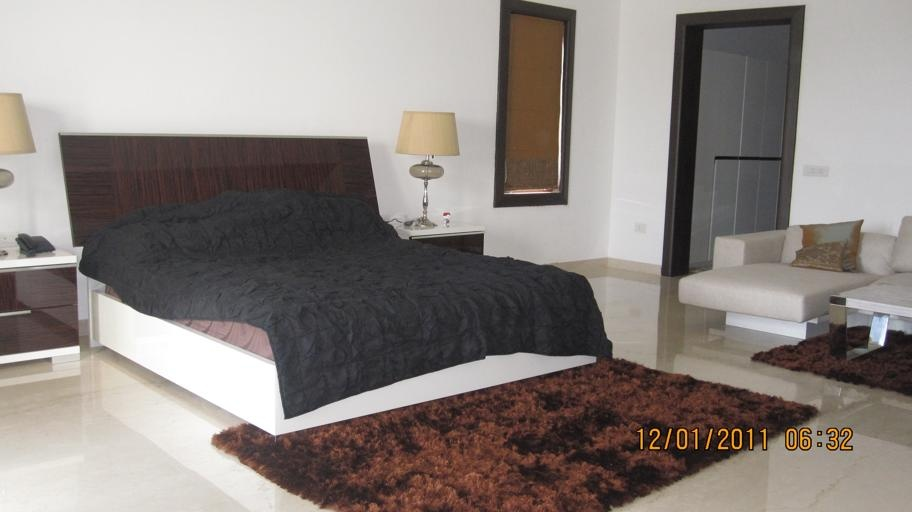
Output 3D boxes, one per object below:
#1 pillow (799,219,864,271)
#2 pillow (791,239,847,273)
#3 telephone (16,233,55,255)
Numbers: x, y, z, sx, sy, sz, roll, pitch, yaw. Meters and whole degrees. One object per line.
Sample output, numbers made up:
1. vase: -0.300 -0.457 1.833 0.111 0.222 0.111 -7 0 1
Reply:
1. pillow: 3.890 -0.114 6.182 0.653 0.558 0.188 6 -15 29
2. pillow: 3.759 0.002 6.152 0.369 0.111 0.375 21 59 43
3. telephone: -3.572 -0.112 5.034 0.226 0.113 0.226 17 19 37
